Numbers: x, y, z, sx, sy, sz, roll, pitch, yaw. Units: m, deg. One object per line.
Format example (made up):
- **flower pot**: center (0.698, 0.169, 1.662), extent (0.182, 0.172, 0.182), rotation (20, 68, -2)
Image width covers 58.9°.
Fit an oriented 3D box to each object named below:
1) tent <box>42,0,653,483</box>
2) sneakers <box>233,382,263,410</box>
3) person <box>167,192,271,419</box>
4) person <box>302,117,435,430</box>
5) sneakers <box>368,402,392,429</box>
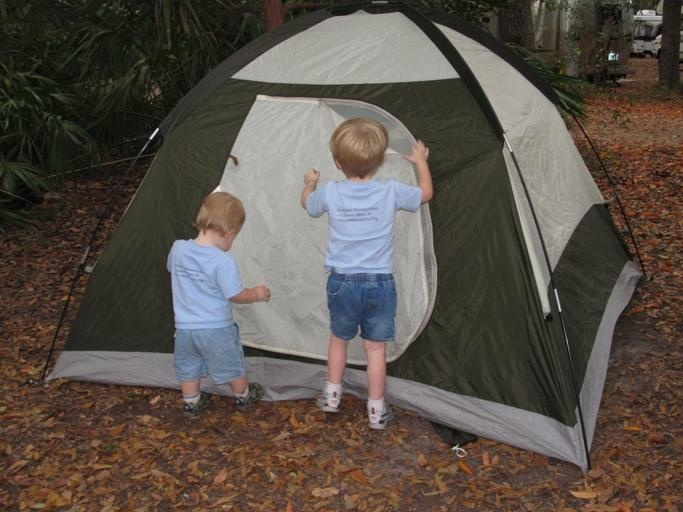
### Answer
- **tent**: center (0.348, 0.020, 4.453), extent (3.050, 2.094, 3.349), rotation (11, 22, 42)
- **sneakers**: center (-0.643, 0.964, 4.294), extent (0.097, 0.150, 0.211), rotation (11, 29, 24)
- **person**: center (-0.827, 0.319, 4.033), extent (0.614, 1.469, 0.332), rotation (-3, 18, -11)
- **person**: center (0.159, 0.123, 3.927), extent (0.817, 1.962, 0.539), rotation (-1, 18, -4)
- **sneakers**: center (0.275, 1.014, 4.011), extent (0.090, 0.168, 0.247), rotation (2, 15, 14)
